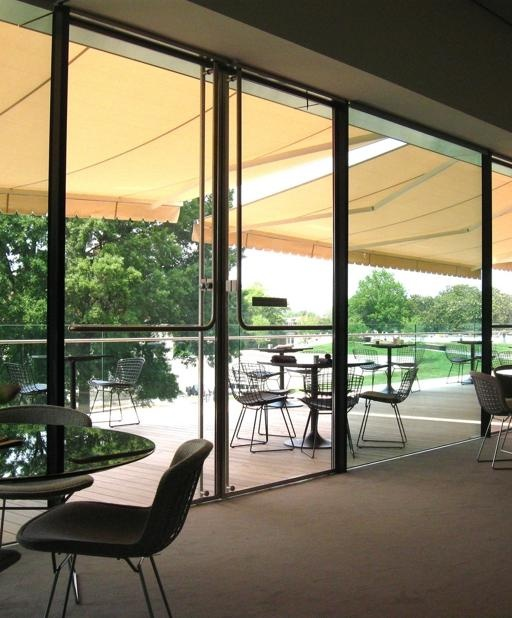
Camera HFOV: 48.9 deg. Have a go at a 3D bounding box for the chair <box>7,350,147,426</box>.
[{"bbox_3d":[-1.397,0.680,5.132,1.004,0.608,0.591,1,-2,8],"label":"chair"}]

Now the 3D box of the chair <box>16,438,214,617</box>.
[{"bbox_3d":[-0.445,0.588,1.858,0.591,0.446,0.459,1,0,-2],"label":"chair"}]
